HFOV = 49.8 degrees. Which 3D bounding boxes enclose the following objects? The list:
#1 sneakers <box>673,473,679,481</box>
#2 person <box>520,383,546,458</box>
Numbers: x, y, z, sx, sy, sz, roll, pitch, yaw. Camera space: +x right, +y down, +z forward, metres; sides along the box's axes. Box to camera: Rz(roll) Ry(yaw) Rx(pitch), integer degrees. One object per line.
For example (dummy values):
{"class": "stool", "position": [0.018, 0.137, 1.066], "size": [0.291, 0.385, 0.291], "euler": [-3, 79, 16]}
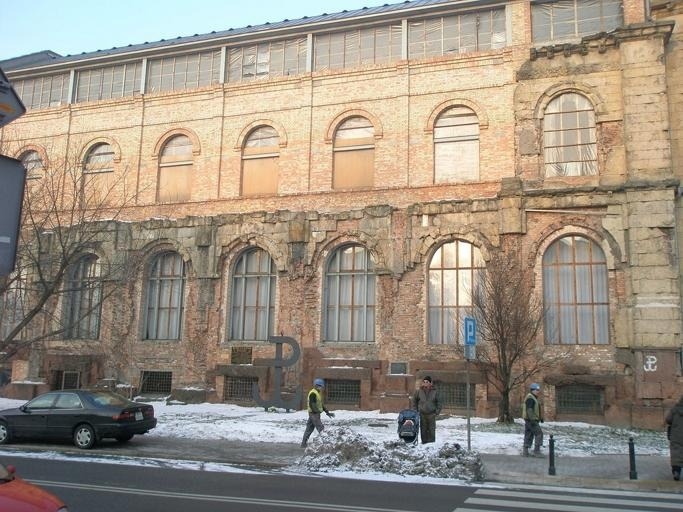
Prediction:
{"class": "sneakers", "position": [8.812, 5.794, 19.300], "size": [0.132, 0.118, 0.150], "euler": [-1, 2, 4]}
{"class": "person", "position": [5.716, 4.886, 22.059], "size": [0.601, 2.091, 1.190], "euler": [-4, -15, 13]}
